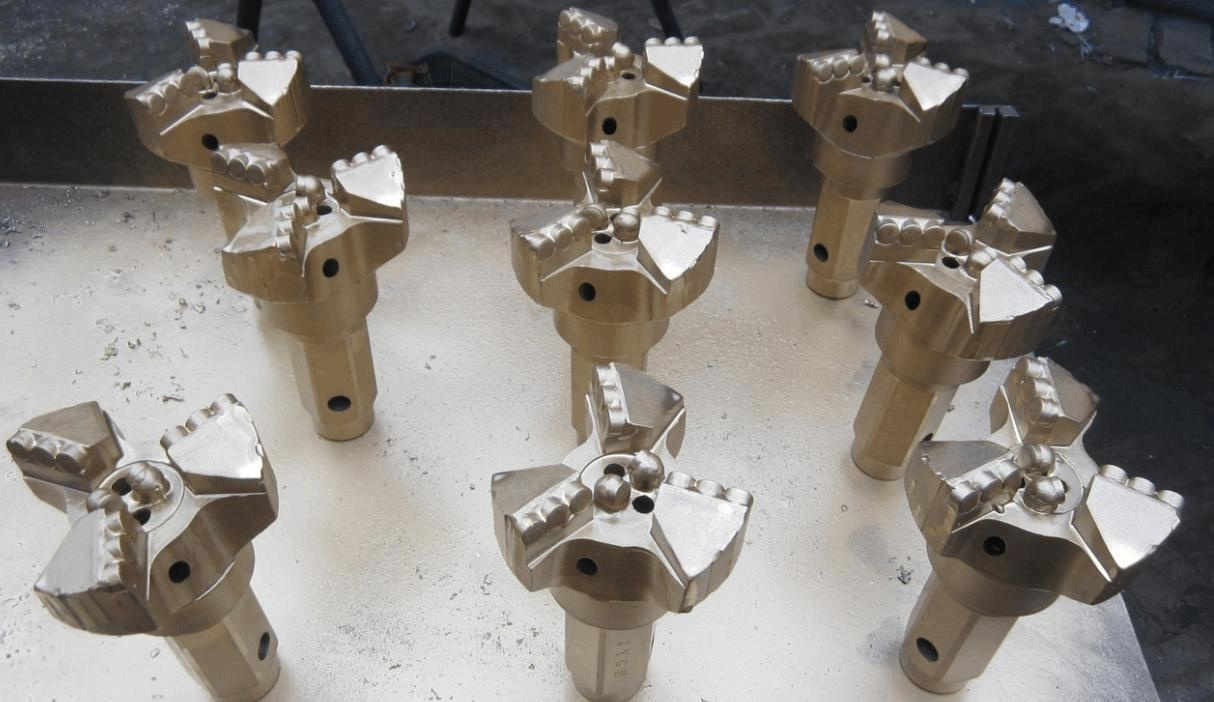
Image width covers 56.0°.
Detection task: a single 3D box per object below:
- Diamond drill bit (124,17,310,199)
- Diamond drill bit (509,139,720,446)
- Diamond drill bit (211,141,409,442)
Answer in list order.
[{"bbox_3d":[-1.004,-0.647,3.047,0.414,0.418,0.405,-5,33,-11],"label":"Diamond drill bit"},{"bbox_3d":[0.030,-0.187,2.915,0.576,0.647,0.524,6,28,6],"label":"Diamond drill bit"},{"bbox_3d":[-0.635,-0.117,2.812,0.494,0.647,0.511,-20,45,-35],"label":"Diamond drill bit"}]
